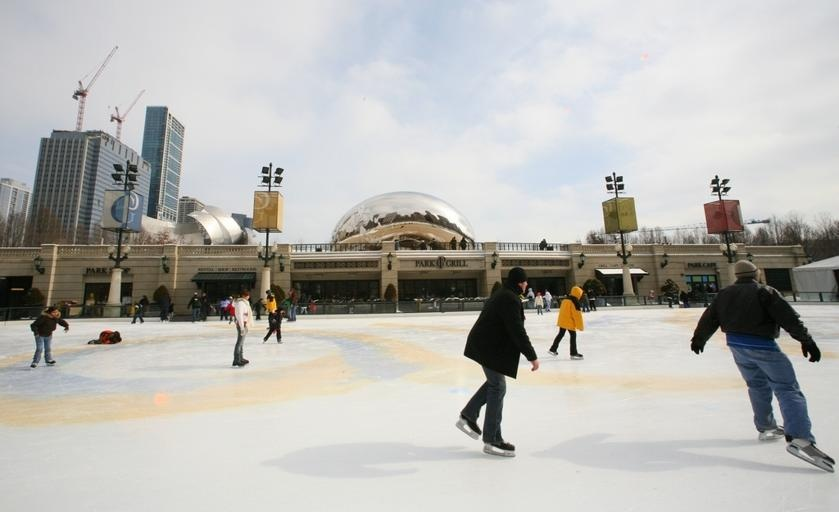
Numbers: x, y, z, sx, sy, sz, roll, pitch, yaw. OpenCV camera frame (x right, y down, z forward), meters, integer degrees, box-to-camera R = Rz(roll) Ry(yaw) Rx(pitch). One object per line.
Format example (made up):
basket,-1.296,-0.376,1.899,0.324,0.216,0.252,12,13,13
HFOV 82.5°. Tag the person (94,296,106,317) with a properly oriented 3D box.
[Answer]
person,-20.931,3.290,31.138,0.702,1.175,0.693,-3,0,35

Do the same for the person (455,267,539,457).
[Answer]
person,1.183,1.602,7.588,1.231,2.816,0.869,-2,4,-2

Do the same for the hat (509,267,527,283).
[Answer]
hat,1.566,0.304,7.766,0.311,0.268,0.226,11,17,15

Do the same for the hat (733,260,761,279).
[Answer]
hat,5.142,0.210,7.571,0.354,0.240,0.475,5,4,31

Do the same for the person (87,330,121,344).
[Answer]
person,-10.739,2.816,16.319,0.973,0.352,0.575,8,2,-31

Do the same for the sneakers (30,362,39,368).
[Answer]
sneakers,-9.996,2.828,12.338,0.175,0.084,0.231,2,-9,-32
